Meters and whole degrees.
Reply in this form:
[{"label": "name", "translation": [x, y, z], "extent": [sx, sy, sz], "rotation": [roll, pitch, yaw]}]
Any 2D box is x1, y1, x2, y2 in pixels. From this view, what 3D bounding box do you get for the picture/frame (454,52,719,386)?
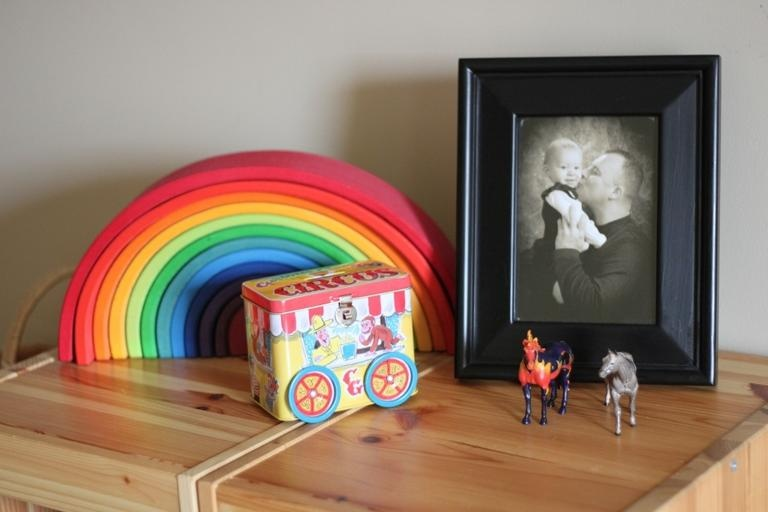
[{"label": "picture/frame", "translation": [0.334, -0.062, 1.157], "extent": [0.555, 0.650, 0.046], "rotation": [1, 1, 12]}]
